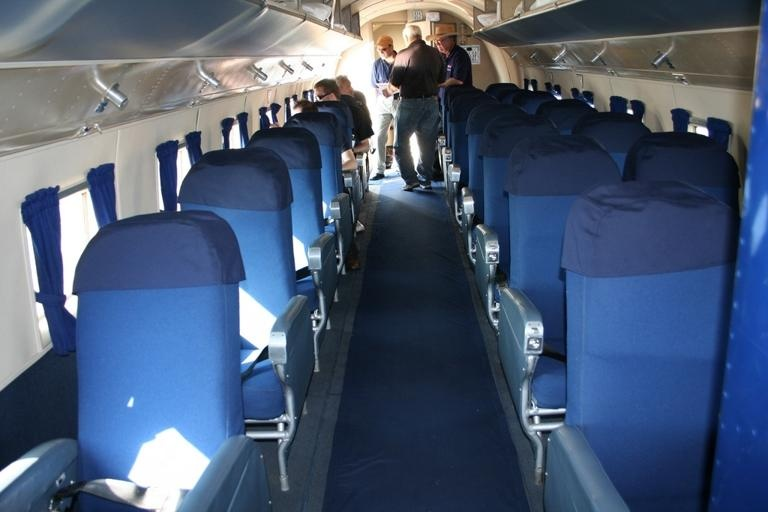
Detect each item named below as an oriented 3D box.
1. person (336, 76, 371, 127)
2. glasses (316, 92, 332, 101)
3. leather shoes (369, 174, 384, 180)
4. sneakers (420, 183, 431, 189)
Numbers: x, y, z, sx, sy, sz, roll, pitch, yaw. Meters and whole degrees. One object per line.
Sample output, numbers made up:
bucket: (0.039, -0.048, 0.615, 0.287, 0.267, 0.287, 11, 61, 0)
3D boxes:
person: (-0.657, -2.726, 10.432, 0.358, 0.364, 1.225, -20, 11, 45)
glasses: (-0.817, -2.136, 8.044, 0.161, 0.051, 0.156, 1, 3, -28)
leather shoes: (-0.138, -1.385, 10.404, 0.251, 0.113, 0.093, 0, 3, -1)
sneakers: (0.651, -1.095, 9.457, 0.127, 0.114, 0.106, 12, -22, -13)
